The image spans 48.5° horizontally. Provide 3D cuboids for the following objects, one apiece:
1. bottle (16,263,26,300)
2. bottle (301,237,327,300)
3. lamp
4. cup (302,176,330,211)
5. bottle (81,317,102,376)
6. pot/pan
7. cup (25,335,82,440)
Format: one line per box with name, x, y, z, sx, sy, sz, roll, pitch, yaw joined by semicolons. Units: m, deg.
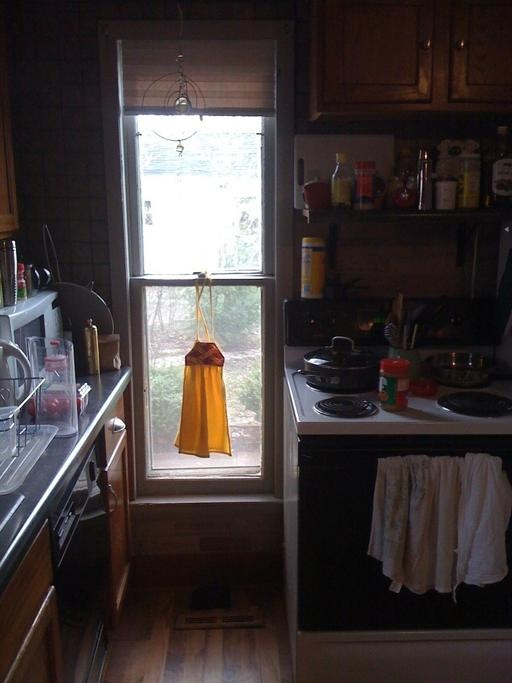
bottle;-0.734;-0.190;1.769;0.020;0.106;0.104;-5;13;-17
bottle;0.203;-0.258;2.003;0.084;0.211;0.062;1;12;9
lamp;-0.311;-0.919;2.014;0.257;0.492;0.129;-1;12;-2
cup;0.194;-0.468;1.799;0.097;0.106;0.076;3;8;45
bottle;-0.582;0.015;2.011;0.052;0.199;0.127;-5;13;-17
pot/pan;0.267;0.057;1.847;0.151;0.130;0.216;-1;4;-1
cup;-0.522;0.109;1.466;0.112;0.203;0.244;-6;14;-23
